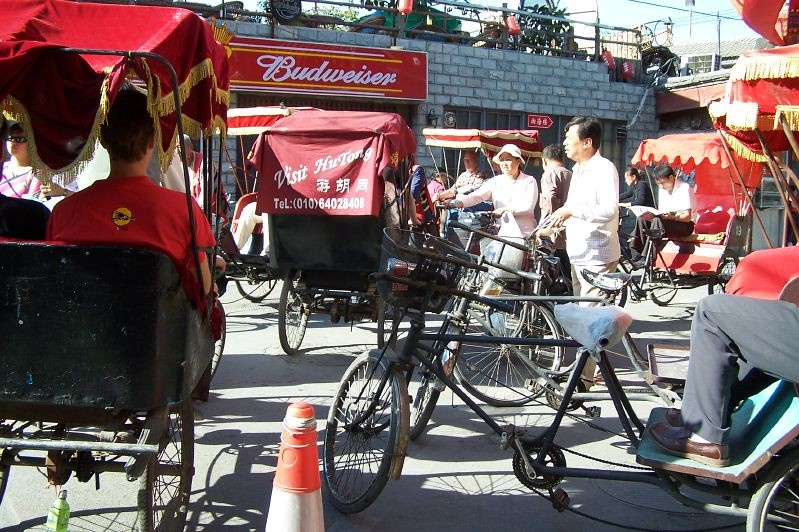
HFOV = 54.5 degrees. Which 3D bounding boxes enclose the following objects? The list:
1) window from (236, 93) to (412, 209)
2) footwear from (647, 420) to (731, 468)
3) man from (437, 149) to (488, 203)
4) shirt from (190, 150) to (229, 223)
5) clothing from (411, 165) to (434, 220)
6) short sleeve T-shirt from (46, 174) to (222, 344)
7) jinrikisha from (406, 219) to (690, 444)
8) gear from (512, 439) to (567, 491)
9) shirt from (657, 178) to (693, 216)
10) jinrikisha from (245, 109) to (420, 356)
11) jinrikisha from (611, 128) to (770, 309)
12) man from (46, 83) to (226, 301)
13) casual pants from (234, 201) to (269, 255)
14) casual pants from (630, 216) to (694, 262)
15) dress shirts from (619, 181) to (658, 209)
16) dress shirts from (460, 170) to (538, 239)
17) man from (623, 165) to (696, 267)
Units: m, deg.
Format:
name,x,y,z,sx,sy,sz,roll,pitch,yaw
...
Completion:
name,x,y,z,sx,sy,sz,roll,pitch,yaw
window,-0.646,-0.988,8.432,1.859,1.126,1.668,3,-5,6
footwear,1.776,1.063,4.731,0.436,0.185,0.175,12,-5,31
man,1.029,-1.438,12.592,0.819,0.911,0.535,-8,14,-42
shirt,-1.983,-0.758,8.040,0.099,0.796,0.279,21,29,36
clothing,0.272,-0.891,9.725,0.235,0.851,0.268,8,30,25
short sleeve T-shirt,-1.637,0.016,4.596,1.027,1.075,0.569,-2,2,-8
jinrikisha,1.790,0.246,7.367,1.597,1.438,2.833,10,2,24
gear,0.932,1.321,5.175,0.337,0.323,0.270,5,11,9
shirt,4.113,-1.029,11.529,0.347,0.576,0.635,-2,-1,-26
jinrikisha,-0.468,-0.267,8.919,1.616,2.633,2.676,2,-1,18
jinrikisha,4.471,-0.686,11.692,1.437,2.524,2.585,5,9,44
man,-1.667,-0.313,4.828,0.975,1.407,0.839,0,-6,-8
casual pants,-1.980,-0.594,10.017,0.411,0.704,0.478,-11,12,-24
casual pants,3.923,-0.472,11.550,0.663,0.848,0.685,8,5,18
dress shirts,4.148,-1.268,13.858,0.776,0.557,0.578,1,2,43
dress shirts,1.225,-0.732,8.954,0.670,0.724,0.523,16,17,19
man,4.004,-0.718,11.597,0.922,1.588,0.689,-3,10,-19
